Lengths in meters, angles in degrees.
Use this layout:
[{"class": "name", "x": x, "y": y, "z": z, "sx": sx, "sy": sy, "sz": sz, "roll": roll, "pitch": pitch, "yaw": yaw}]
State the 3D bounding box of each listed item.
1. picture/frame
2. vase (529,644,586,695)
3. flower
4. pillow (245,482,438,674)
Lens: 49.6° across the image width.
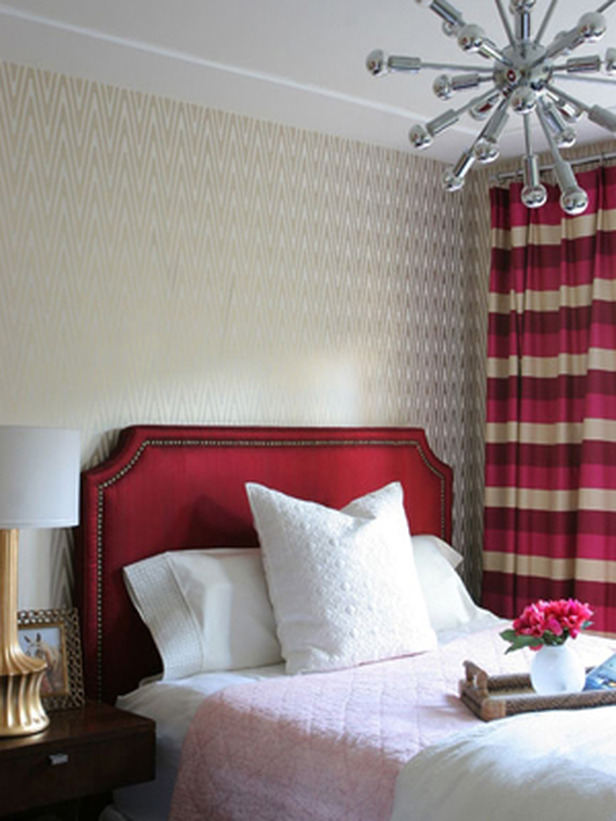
[{"class": "picture/frame", "x": -0.698, "y": 0.677, "z": 1.801, "sx": 0.022, "sy": 0.281, "sz": 0.271, "roll": -21, "pitch": -23, "yaw": 24}, {"class": "vase", "x": 0.539, "y": 0.560, "z": 1.430, "sx": 0.115, "sy": 0.104, "sz": 0.116, "roll": -6, "pitch": -2, "yaw": 5}, {"class": "flower", "x": 0.515, "y": 0.461, "z": 1.460, "sx": 0.156, "sy": 0.089, "sz": 0.157, "roll": -17, "pitch": 2, "yaw": 43}, {"class": "pillow", "x": 0.070, "y": 0.497, "z": 2.034, "sx": 0.533, "sy": 0.556, "sz": 0.160, "roll": -3, "pitch": -22, "yaw": -38}]
